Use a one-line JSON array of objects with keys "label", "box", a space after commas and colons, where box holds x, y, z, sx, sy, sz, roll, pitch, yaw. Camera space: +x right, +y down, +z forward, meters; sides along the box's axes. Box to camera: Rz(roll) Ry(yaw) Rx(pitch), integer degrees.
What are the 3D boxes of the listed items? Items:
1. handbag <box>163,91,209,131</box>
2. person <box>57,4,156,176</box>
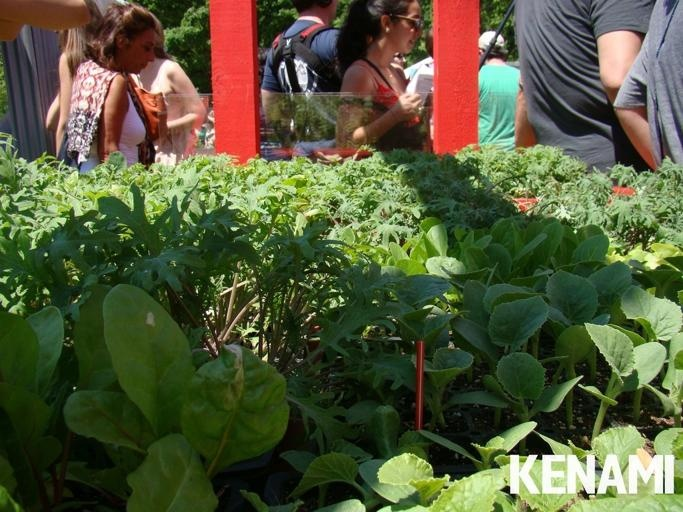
[{"label": "handbag", "box": [-1.023, -0.943, 4.025, 0.380, 0.226, 0.282, -3, 7, -16]}, {"label": "person", "box": [-1.324, -0.971, 3.527, 0.485, 0.991, 0.433, 1, -4, -25]}]
